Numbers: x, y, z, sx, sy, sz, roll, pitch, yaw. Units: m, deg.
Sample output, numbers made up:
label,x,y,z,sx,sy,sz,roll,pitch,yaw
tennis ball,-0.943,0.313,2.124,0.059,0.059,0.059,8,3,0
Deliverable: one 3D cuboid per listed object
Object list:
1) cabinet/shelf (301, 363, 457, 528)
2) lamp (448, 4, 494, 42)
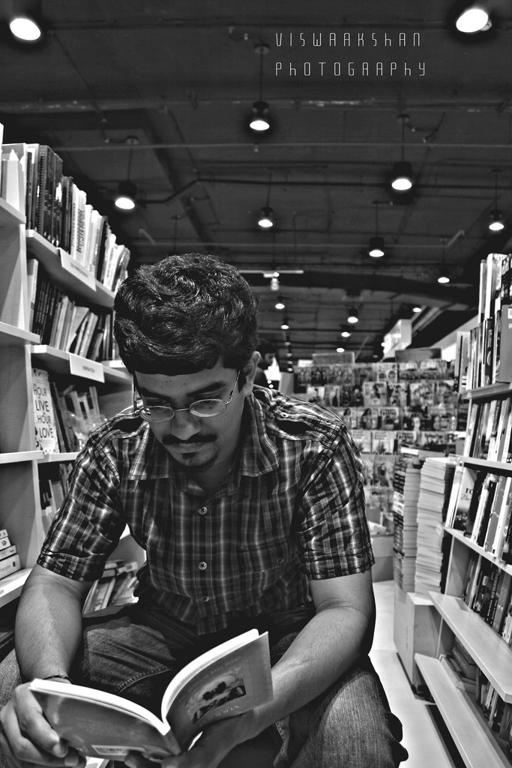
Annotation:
label,x,y,z,sx,sy,sz,roll,pitch,yaw
cabinet/shelf,1.526,0.402,6.426,1.380,1.316,0.761,-5,-3,14
lamp,1.178,-1.983,2.929,0.230,0.074,0.390,5,2,21
